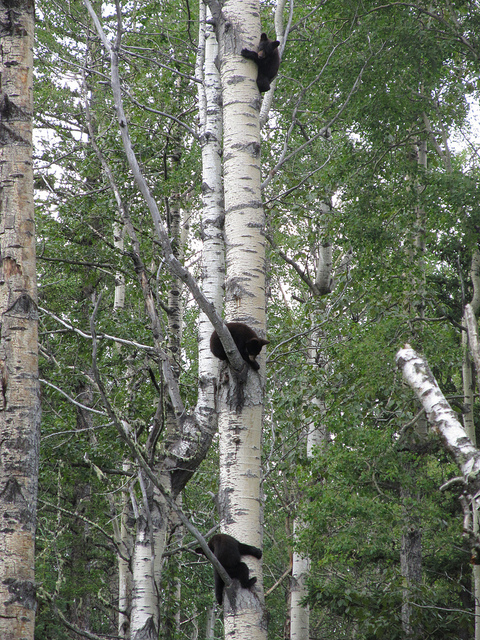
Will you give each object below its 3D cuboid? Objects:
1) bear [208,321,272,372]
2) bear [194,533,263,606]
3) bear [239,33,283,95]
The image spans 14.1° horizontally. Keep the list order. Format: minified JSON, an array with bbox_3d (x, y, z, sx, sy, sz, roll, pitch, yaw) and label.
[{"bbox_3d":[0.003,0.300,23.787,0.597,0.654,0.263,-28,-10,24],"label":"bear"},{"bbox_3d":[-0.072,3.024,23.587,0.622,0.775,0.612,2,-19,-10],"label":"bear"},{"bbox_3d":[0.278,-3.249,24.902,0.543,0.354,0.817,-8,-53,-42],"label":"bear"}]
